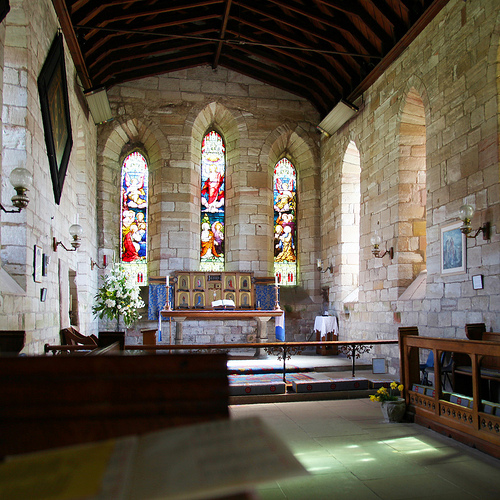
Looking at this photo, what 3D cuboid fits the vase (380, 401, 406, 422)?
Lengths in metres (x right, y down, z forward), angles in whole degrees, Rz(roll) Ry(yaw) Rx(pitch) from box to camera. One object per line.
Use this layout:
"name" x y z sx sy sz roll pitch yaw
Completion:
"vase" 1.486 1.653 4.989 0.211 0.156 0.198 3 -12 -11

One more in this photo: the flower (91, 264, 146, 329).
"flower" -2.513 0.871 9.281 0.659 1.240 0.827 -6 -8 39

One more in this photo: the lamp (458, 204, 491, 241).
"lamp" 2.652 -0.334 5.814 0.352 0.494 0.514 -1 -6 3

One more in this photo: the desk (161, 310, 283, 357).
"desk" -0.599 1.681 10.066 2.407 0.919 3.143 0 -6 -9
